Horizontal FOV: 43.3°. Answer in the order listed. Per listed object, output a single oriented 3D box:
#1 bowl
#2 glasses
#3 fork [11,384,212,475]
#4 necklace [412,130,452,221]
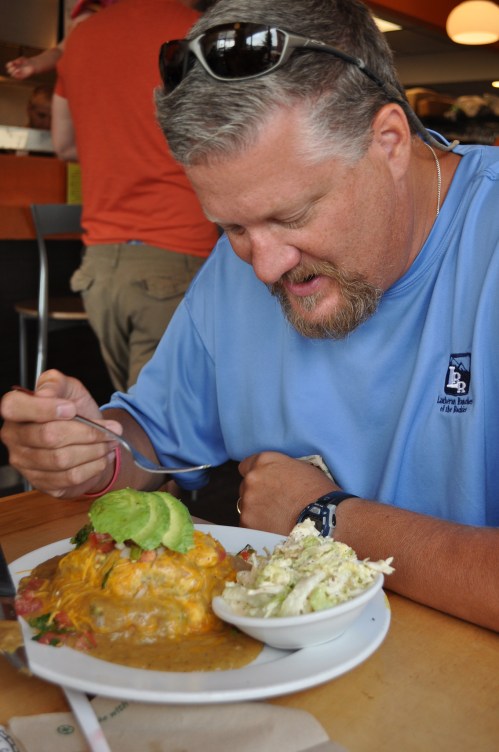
[{"bbox_3d":[0.053,0.261,0.678,0.108,0.035,0.102,-17,4,1],"label":"bowl"},{"bbox_3d":[0.046,-0.416,0.928,0.245,0.050,0.184,12,-2,-37],"label":"glasses"},{"bbox_3d":[-0.280,0.111,1.301,0.450,0.062,0.046,24,31,11],"label":"fork"},{"bbox_3d":[0.369,-0.408,1.261,0.039,0.145,0.086,-4,11,-37],"label":"necklace"}]
